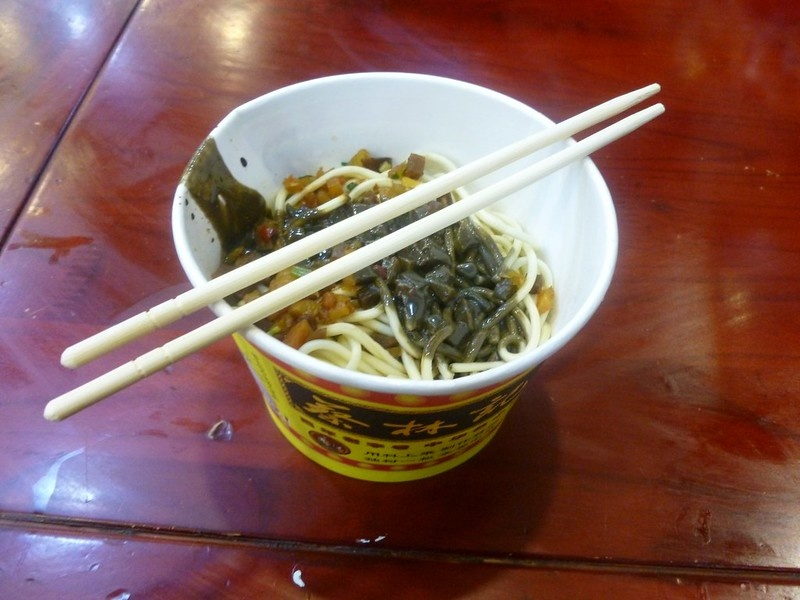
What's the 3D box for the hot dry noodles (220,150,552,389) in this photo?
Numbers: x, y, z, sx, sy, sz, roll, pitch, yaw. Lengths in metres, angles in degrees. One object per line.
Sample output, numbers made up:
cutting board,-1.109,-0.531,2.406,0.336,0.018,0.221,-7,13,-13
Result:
hot dry noodles,0.017,0.051,2.256,0.788,0.275,0.757,-30,65,-26
